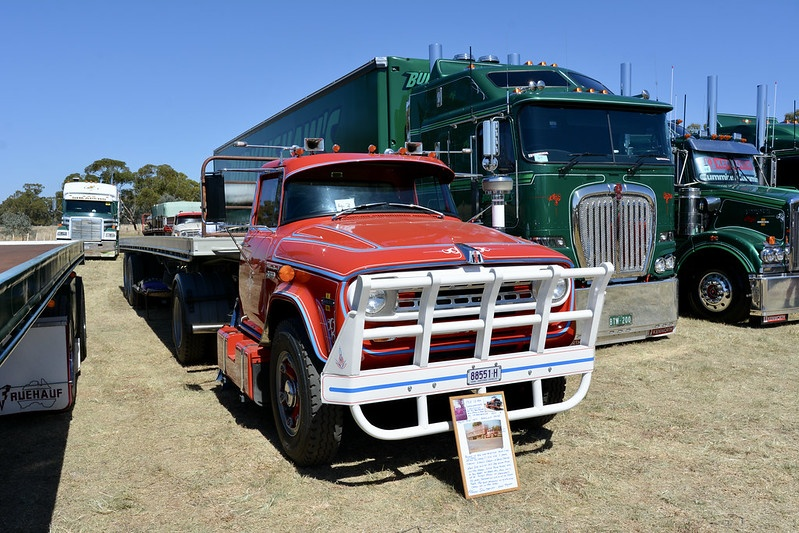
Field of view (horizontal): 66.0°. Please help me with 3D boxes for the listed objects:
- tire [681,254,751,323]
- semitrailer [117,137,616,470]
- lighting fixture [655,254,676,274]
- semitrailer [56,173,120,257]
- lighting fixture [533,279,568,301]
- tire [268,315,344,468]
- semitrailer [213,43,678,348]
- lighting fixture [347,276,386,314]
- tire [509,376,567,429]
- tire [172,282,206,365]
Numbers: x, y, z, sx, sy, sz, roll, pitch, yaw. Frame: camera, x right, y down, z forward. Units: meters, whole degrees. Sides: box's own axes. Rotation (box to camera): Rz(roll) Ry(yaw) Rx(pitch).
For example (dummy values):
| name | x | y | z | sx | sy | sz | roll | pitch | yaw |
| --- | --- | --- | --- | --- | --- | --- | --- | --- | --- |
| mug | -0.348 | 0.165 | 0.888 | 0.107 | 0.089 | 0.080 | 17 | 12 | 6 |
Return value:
| name | x | y | z | sx | sy | sz | roll | pitch | yaw |
| --- | --- | --- | --- | --- | --- | --- | --- | --- | --- |
| tire | 5.825 | 0.384 | 11.266 | 0.454 | 1.279 | 1.165 | 1 | -2 | -41 |
| semitrailer | -1.094 | 0.170 | 8.015 | 2.497 | 2.503 | 6.719 | -1 | 4 | -30 |
| lighting fixture | 4.161 | -0.053 | 9.736 | 0.351 | 0.240 | 0.115 | -23 | 15 | -39 |
| semitrailer | -13.785 | -2.076 | 27.504 | 2.315 | 3.244 | 3.103 | -5 | 11 | -27 |
| lighting fixture | 1.509 | 0.187 | 6.033 | 0.207 | 0.191 | 0.361 | -25 | 14 | -22 |
| tire | -0.870 | 1.184 | 5.836 | 0.404 | 1.362 | 1.177 | -3 | 16 | -29 |
| semitrailer | 0.846 | -1.892 | 14.287 | 3.734 | 5.519 | 11.498 | -5 | 6 | -31 |
| lighting fixture | -0.335 | 0.245 | 5.362 | 0.282 | 0.349 | 0.339 | 9 | 13 | 44 |
| tire | 1.394 | 1.377 | 6.347 | 0.240 | 0.791 | 0.757 | 0 | 1 | -14 |
| tire | -3.020 | 0.804 | 8.856 | 0.346 | 1.162 | 1.076 | -3 | 6 | -32 |
